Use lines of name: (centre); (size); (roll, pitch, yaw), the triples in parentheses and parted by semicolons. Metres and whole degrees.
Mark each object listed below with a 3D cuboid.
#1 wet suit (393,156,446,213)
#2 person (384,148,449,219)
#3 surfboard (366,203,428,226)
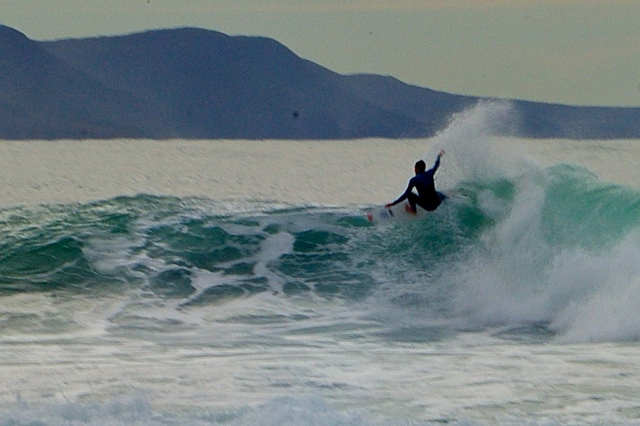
wet suit: (2.134, -0.590, 28.030); (0.954, 1.232, 0.380); (1, 12, -31)
person: (2.158, -0.602, 29.201); (1.709, 0.995, 0.812); (-21, 44, -5)
surfboard: (1.555, 0.019, 28.666); (1.457, 0.423, 0.157); (-6, -9, 32)
